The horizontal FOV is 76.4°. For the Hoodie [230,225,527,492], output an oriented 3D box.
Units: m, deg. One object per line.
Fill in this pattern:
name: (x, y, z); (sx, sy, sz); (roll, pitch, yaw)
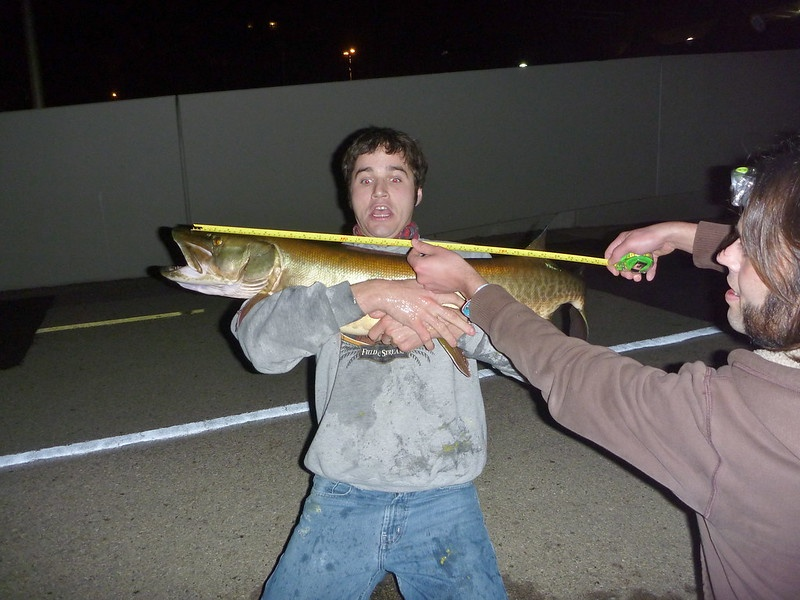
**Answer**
Hoodie: (-0.107, 0.298, 2.336); (1.389, 1.382, 0.342); (8, -14, 1)
